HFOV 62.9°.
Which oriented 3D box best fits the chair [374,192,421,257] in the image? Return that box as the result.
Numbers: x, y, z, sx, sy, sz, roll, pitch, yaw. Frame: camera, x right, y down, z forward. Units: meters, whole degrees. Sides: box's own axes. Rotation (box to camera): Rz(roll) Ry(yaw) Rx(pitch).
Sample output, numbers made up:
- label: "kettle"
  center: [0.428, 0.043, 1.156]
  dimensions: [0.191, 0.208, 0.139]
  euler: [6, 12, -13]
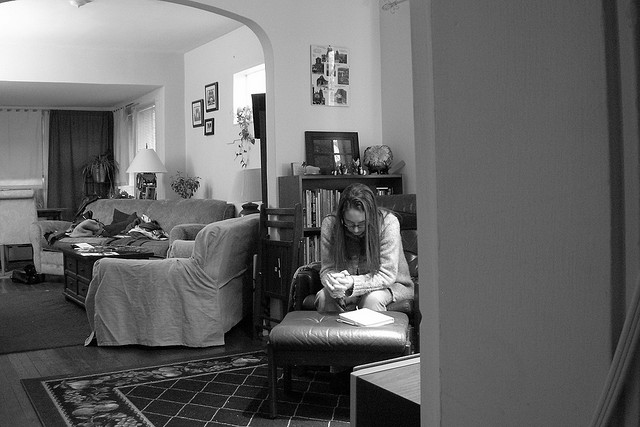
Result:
- label: "chair"
  center: [0.401, 0.060, 3.207]
  dimensions: [0.419, 0.403, 0.402]
  euler: [0, -6, -3]

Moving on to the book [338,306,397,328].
- label: "book"
  center: [0.226, 0.505, 2.533]
  dimensions: [0.216, 0.035, 0.255]
  euler: [-5, 5, -44]

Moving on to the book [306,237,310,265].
- label: "book"
  center: [-0.100, 0.289, 4.080]
  dimensions: [0.026, 0.188, 0.013]
  euler: [-3, 4, -22]

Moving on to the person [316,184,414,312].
- label: "person"
  center: [0.246, 0.192, 2.937]
  dimensions: [0.550, 0.708, 0.390]
  euler: [0, 4, 10]

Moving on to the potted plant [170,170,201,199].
- label: "potted plant"
  center: [-1.949, -0.396, 7.416]
  dimensions: [0.381, 0.440, 0.363]
  euler: [-1, 0, -40]

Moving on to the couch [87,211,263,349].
- label: "couch"
  center: [-1.108, 0.523, 4.315]
  dimensions: [1.107, 0.920, 1.579]
  euler: [-4, -4, -1]

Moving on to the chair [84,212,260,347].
- label: "chair"
  center: [-1.118, 0.485, 4.310]
  dimensions: [1.037, 0.895, 1.568]
  euler: [1, 0, 5]

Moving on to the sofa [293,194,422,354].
- label: "sofa"
  center: [0.210, 0.328, 3.159]
  dimensions: [0.740, 0.842, 0.803]
  euler: [0, 4, 9]

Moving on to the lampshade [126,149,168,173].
- label: "lampshade"
  center: [-2.441, -0.704, 7.409]
  dimensions: [0.390, 0.284, 0.390]
  euler: [0, 4, 11]

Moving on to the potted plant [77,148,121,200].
- label: "potted plant"
  center: [-4.072, -0.775, 9.629]
  dimensions: [0.805, 0.866, 0.400]
  euler: [-2, 4, -10]
